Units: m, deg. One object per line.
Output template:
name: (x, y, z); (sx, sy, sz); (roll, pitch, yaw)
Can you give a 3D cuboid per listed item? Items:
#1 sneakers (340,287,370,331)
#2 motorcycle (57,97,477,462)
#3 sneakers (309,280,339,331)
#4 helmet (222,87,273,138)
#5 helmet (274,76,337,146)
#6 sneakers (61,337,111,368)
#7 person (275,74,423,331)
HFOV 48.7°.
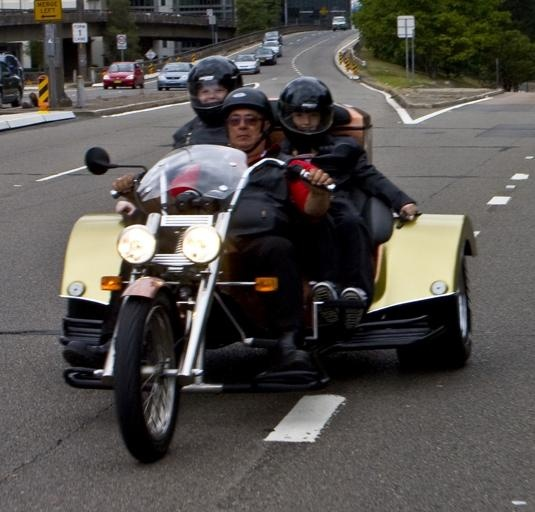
sneakers: (0.425, 0.267, 2.941); (0.102, 0.228, 0.108); (8, 19, 9)
motorcycle: (0.018, 0.039, 2.846); (1.567, 0.962, 1.979); (-2, -3, 24)
sneakers: (0.283, 0.247, 2.947); (0.139, 0.220, 0.103); (-4, 11, 11)
helmet: (-0.115, -0.858, 3.515); (0.285, 0.217, 0.316); (-3, 25, 12)
helmet: (0.227, -0.913, 3.641); (0.394, 0.368, 0.407); (2, 31, 3)
sneakers: (-0.745, 0.449, 2.555); (0.236, 0.071, 0.202); (-2, 28, -7)
person: (0.302, -0.365, 3.429); (1.248, 1.311, 0.864); (-5, 7, -7)
